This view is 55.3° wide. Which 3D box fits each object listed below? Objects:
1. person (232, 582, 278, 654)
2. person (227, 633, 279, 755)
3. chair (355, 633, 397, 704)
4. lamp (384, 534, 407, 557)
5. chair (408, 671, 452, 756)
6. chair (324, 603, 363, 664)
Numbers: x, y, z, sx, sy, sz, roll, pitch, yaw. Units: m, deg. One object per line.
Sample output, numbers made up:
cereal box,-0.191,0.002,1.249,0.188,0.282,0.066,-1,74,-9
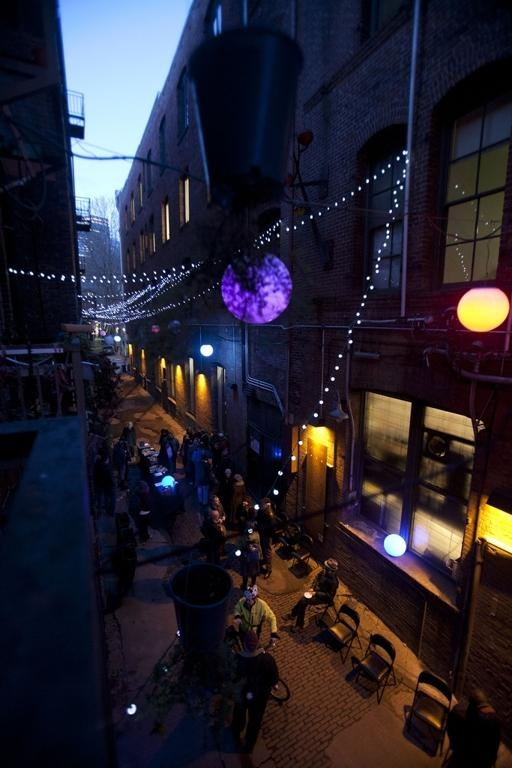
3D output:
person,-0.017,2.600,5.162,0.435,1.173,0.336,8,31,10
person,-0.022,2.755,4.464,0.346,1.113,0.344,9,10,6
chair,1.226,2.897,5.031,0.350,0.531,0.285,-24,32,-39
lamp,1.661,1.932,5.913,0.202,0.250,0.258,-9,3,-6
chair,1.585,3.001,4.490,0.382,0.558,0.345,-22,34,-20
chair,0.986,2.785,5.544,0.300,0.483,0.247,-15,28,-30
